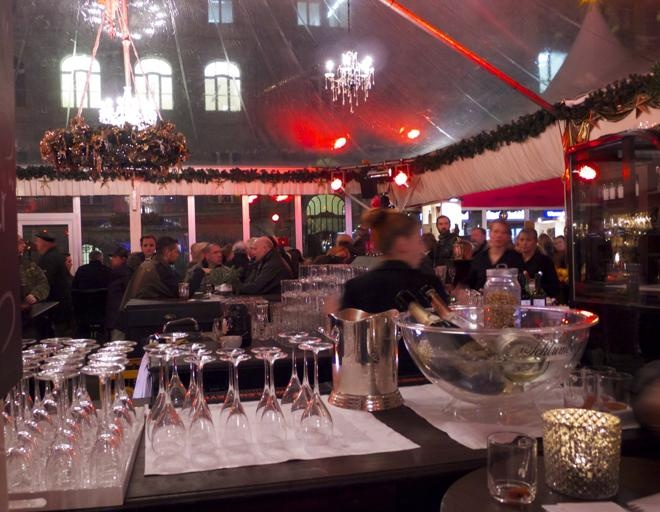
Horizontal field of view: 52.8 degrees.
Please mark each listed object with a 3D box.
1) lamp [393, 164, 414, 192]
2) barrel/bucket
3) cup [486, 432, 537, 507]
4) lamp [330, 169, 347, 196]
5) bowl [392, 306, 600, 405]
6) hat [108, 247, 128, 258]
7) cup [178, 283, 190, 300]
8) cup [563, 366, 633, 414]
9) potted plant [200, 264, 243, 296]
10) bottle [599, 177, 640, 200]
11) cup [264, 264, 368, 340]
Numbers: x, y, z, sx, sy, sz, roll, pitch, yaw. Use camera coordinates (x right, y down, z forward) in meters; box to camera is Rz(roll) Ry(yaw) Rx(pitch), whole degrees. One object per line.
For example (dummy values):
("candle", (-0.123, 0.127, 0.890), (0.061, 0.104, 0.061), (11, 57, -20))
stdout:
("lamp", (1.211, -1.295, 11.000), (0.350, 0.419, 0.797), (0, 7, 6))
("barrel/bucket", (0.117, 0.356, 2.419), (0.309, 0.435, 0.284), (0, -4, 0))
("cup", (0.497, 0.560, 1.788), (0.149, 0.179, 0.112), (0, 7, 3))
("lamp", (0.148, -1.278, 11.980), (0.231, 0.429, 0.397), (2, 19, 6))
("bowl", (0.537, 0.327, 2.114), (0.628, 0.294, 0.401), (-3, 7, -12))
("hat", (-2.779, -0.040, 8.702), (0.144, 0.138, 0.162), (-2, 0, 31))
("cup", (-1.252, 0.307, 5.752), (0.108, 0.203, 0.118), (0, -5, 0))
("cup", (0.804, 0.403, 1.994), (0.159, 0.122, 0.115), (3, -2, -11))
("potted plant", (-1.041, 0.212, 6.509), (0.309, 0.255, 0.340), (0, 4, 4))
("bottle", (2.337, -0.531, 5.446), (0.113, 0.170, 0.368), (-3, 8, -19))
("cup", (-0.073, 0.251, 3.590), (0.341, 0.491, 0.466), (2, -4, -32))
